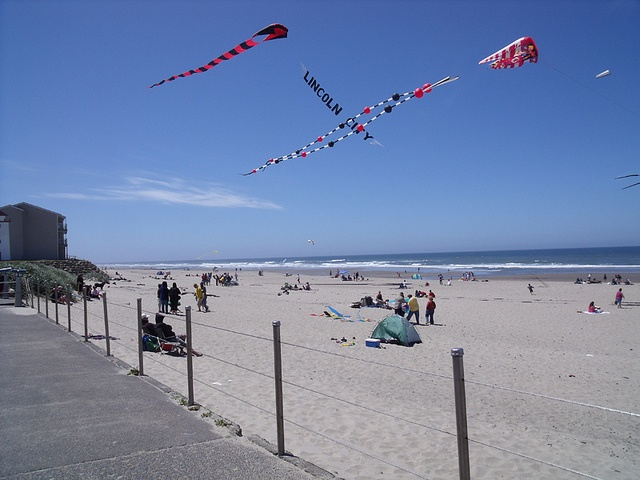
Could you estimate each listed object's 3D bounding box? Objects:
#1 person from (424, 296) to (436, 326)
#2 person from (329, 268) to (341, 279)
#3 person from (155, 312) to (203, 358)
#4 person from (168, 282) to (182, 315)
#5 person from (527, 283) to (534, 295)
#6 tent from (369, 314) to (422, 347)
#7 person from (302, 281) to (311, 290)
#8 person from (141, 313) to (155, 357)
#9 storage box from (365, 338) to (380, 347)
[{"bbox_3d":[4.789,3.014,20.268,0.327,1.183,1.604,2,-4,14],"label":"person"},{"bbox_3d":[2.209,4.893,68.174,1.780,1.043,0.883,1,-5,14],"label":"person"},{"bbox_3d":[-4.231,2.737,13.558,1.649,1.025,0.839,0,-4,40],"label":"person"},{"bbox_3d":[-6.725,2.696,21.840,0.476,1.326,1.656,3,-4,-17],"label":"person"},{"bbox_3d":[16.196,3.778,36.076,0.456,0.997,0.535,-6,-4,4],"label":"person"},{"bbox_3d":[2.651,3.071,16.033,1.654,0.924,0.828,2,-3,11],"label":"tent"},{"bbox_3d":[-1.184,4.141,42.535,0.493,0.754,0.274,0,16,6],"label":"person"},{"bbox_3d":[-4.828,2.666,13.290,0.352,1.055,2.008,4,-4,-19],"label":"person"},{"bbox_3d":[1.761,3.410,15.527,0.449,0.225,0.542,2,-4,5],"label":"storage box"}]
